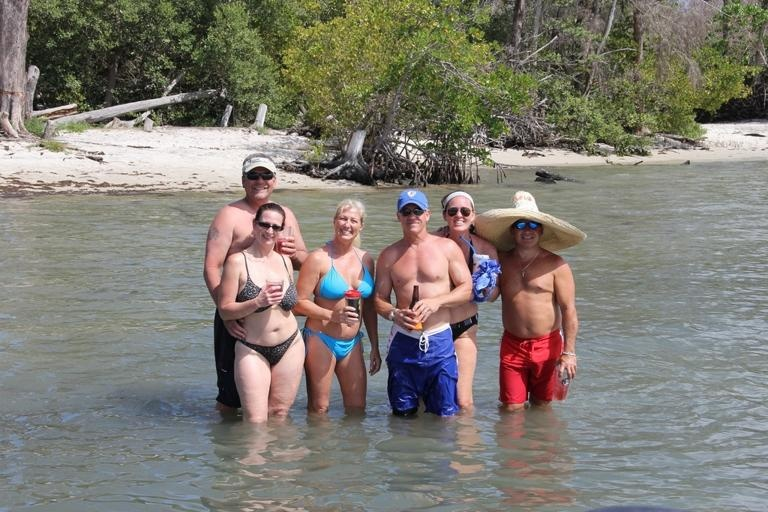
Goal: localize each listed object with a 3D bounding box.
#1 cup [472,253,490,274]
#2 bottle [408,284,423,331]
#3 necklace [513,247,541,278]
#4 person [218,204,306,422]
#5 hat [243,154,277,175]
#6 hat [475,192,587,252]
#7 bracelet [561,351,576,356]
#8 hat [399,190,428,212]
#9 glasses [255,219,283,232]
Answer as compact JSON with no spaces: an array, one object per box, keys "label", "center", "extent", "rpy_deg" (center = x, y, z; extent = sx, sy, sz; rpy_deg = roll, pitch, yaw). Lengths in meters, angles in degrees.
[{"label":"cup","center":[1.158,0.090,11.054],"extent":[0.179,0.211,0.247],"rpy_deg":[0,6,-2]},{"label":"bottle","center":[0.371,0.621,10.797],"extent":[0.155,0.538,0.253],"rpy_deg":[1,8,1]},{"label":"necklace","center":[1.737,0.124,11.141],"extent":[0.121,0.369,0.035],"rpy_deg":[39,1,21]},{"label":"person","center":[-1.373,0.693,10.549],"extent":[0.995,2.615,0.546],"rpy_deg":[-2,9,-20]},{"label":"hat","center":[-1.465,-1.080,10.693],"extent":[0.369,0.241,0.258],"rpy_deg":[0,7,-8]},{"label":"hat","center":[1.792,-0.526,11.443],"extent":[1.318,0.436,0.936],"rpy_deg":[1,-30,7]},{"label":"bracelet","center":[2.226,1.186,11.121],"extent":[0.157,0.059,0.133],"rpy_deg":[0,5,-2]},{"label":"hat","center":[0.354,-0.686,11.088],"extent":[0.341,0.254,0.481],"rpy_deg":[1,6,3]},{"label":"glasses","center":[-1.339,-0.341,10.439],"extent":[0.319,0.122,0.070],"rpy_deg":[1,8,11]}]
